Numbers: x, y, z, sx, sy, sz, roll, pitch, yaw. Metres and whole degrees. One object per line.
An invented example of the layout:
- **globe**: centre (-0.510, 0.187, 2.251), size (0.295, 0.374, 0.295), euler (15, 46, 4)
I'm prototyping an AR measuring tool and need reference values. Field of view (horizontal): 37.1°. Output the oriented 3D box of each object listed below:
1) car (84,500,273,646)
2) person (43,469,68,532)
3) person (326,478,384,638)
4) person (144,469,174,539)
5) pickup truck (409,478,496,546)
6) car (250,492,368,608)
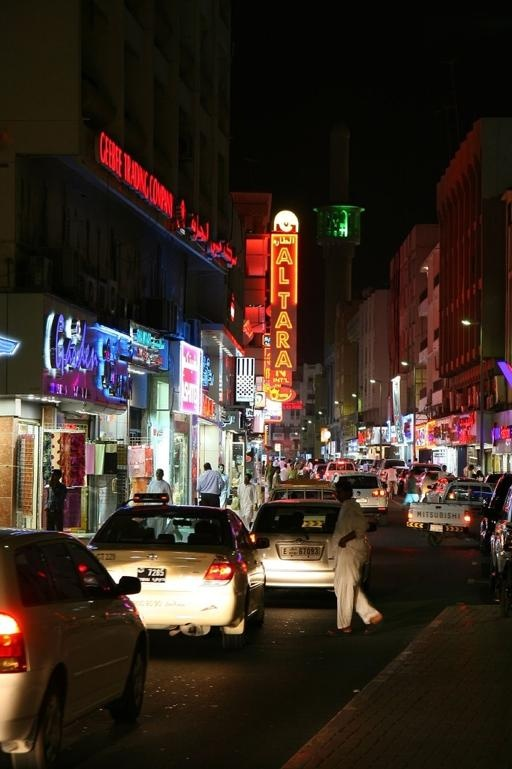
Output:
- **car**: centre (-0.637, 2.049, 8.837), size (0.983, 0.830, 2.361), euler (2, -1, 6)
- **person**: centre (-4.611, 2.661, 17.629), size (0.401, 1.359, 1.446), euler (6, -2, -15)
- **person**: centre (1.219, 2.234, 9.682), size (0.450, 1.517, 0.824), euler (7, -2, -31)
- **person**: centre (-1.186, 1.461, 9.389), size (0.260, 0.914, 0.228), euler (1, 19, -1)
- **pickup truck**: centre (6.091, 3.927, 24.407), size (1.754, 1.788, 3.684), euler (0, 3, 1)
- **car**: centre (0.717, 2.643, 12.695), size (1.075, 1.082, 2.091), euler (0, 3, 6)
